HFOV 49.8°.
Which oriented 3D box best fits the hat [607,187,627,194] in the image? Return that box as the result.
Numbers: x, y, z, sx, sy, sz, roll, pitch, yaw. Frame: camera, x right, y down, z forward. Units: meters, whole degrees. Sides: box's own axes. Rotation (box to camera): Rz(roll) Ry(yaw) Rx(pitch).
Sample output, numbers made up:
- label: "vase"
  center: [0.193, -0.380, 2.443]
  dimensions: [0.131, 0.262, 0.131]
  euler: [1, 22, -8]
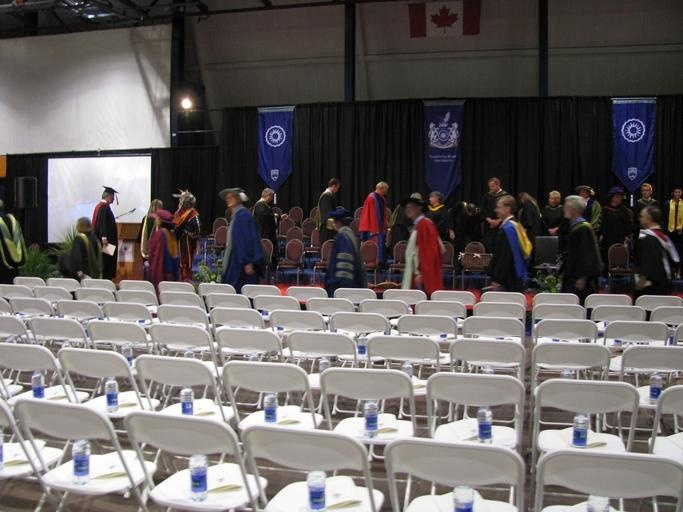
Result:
- label: "hat"
  center: [5.241, -1.260, 14.054]
  dimensions: [0.241, 0.082, 0.256]
  euler: [-5, 5, 27]

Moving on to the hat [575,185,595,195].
- label: "hat"
  center: [4.632, -1.264, 14.059]
  dimensions: [0.344, 0.168, 0.400]
  euler: [7, -4, 31]
